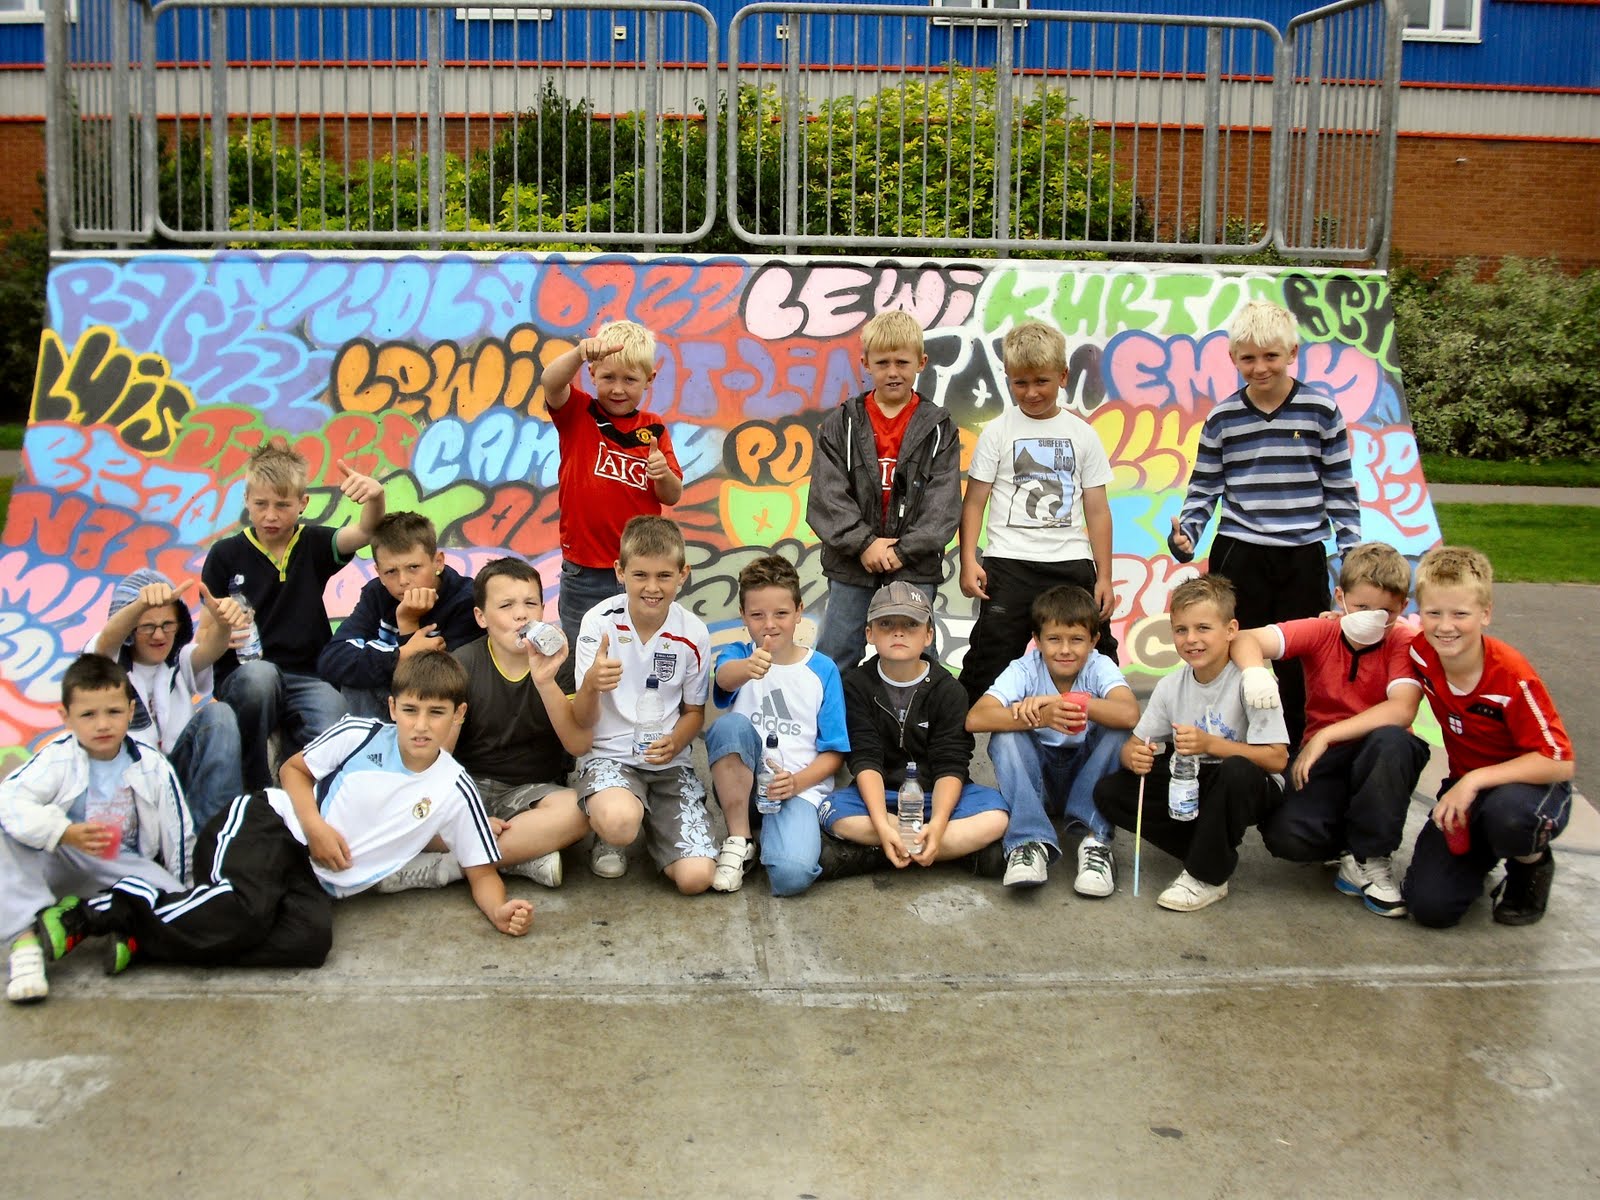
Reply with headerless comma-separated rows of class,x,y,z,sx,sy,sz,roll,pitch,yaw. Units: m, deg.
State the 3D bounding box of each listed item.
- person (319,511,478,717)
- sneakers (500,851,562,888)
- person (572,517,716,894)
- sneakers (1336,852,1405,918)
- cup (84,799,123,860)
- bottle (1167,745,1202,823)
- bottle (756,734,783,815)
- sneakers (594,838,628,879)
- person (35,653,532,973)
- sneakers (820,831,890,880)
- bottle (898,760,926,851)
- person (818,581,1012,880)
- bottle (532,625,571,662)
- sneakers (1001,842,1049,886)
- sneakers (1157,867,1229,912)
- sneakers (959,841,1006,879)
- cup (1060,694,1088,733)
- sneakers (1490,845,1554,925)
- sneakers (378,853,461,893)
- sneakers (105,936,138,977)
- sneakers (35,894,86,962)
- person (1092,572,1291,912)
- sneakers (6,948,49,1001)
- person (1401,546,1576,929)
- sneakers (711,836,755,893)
person,-1.634,0.006,7.379,0.763,1.170,0.722,-1,6,-7
sneakers,-1.059,1.024,6.720,0.257,0.128,0.104,6,3,17
person,-0.608,0.382,6.723,0.541,1.347,0.628,-2,14,-8
sneakers,2.158,1.074,6.600,0.115,0.152,0.314,-1,9,-24
cup,-2.430,0.783,6.075,0.128,0.188,0.078,0,12,23
bottle,1.457,0.692,6.647,0.116,0.327,0.172,2,14,9
bottle,-0.127,0.660,6.796,0.128,0.246,0.085,-6,-11,44
sneakers,-0.758,0.979,6.798,0.136,0.136,0.162,-2,14,-8
person,-1.865,0.840,6.492,1.531,1.125,0.869,-1,-5,9
sneakers,0.190,0.991,6.782,0.183,0.071,0.195,3,-31,-7
bottle,0.422,0.788,6.745,0.106,0.265,0.306,1,14,3
person,0.420,0.476,7.117,0.997,1.347,0.956,-2,0,0
bottle,-0.973,0.157,6.663,0.070,0.077,0.128,-32,11,-13
sneakers,0.846,0.989,6.618,0.114,0.132,0.302,-2,-10,10
sneakers,1.468,1.101,6.595,0.281,0.125,0.113,4,-1,-21
sneakers,0.709,0.999,6.813,0.164,0.121,0.089,3,3,28
cup,1.069,0.426,6.823,0.103,0.154,0.216,3,14,11
sneakers,2.719,1.005,6.521,0.133,0.165,0.386,-3,37,41
sneakers,-1.433,1.021,6.570,0.339,0.162,0.122,4,-11,-31
sneakers,-2.348,1.209,5.990,0.111,0.126,0.057,-9,16,-32
sneakers,-2.564,1.124,6.008,0.085,0.243,0.103,20,37,-20
person,1.543,0.511,6.723,0.705,1.141,0.518,-9,17,-34
sneakers,-2.625,1.246,5.850,0.091,0.109,0.258,0,7,-24
person,2.536,0.490,6.424,0.606,1.372,0.476,5,14,19
sneakers,-0.277,1.007,6.714,0.078,0.102,0.249,5,12,11
